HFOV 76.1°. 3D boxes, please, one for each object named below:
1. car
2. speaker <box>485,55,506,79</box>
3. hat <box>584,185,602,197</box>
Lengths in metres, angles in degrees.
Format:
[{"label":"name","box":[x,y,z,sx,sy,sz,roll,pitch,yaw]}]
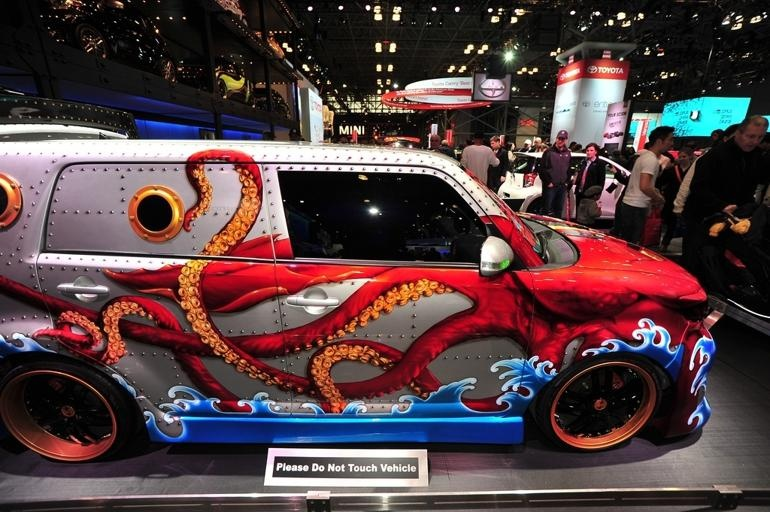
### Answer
[{"label":"car","box":[3.383,-1.190,9.453,2.226,1.024,1.383,-7,29,-1]},{"label":"speaker","box":[3.501,-6.073,15.889,0.671,0.607,0.646,-2,8,-4]},{"label":"hat","box":[3.357,-1.027,7.878,0.260,0.135,0.105,-16,-1,33]}]
